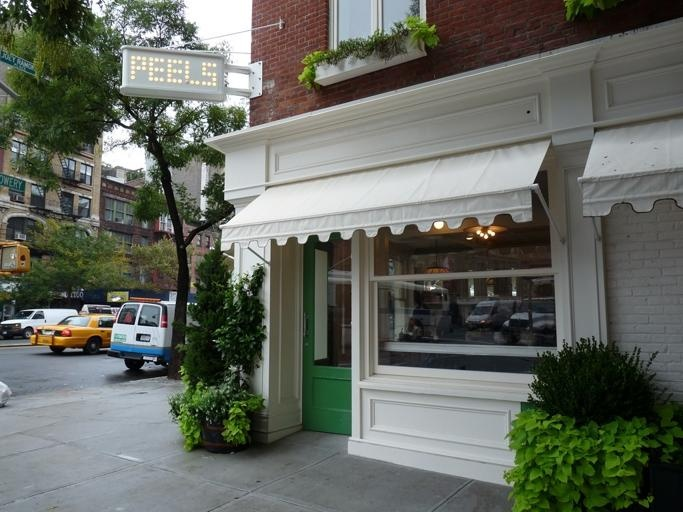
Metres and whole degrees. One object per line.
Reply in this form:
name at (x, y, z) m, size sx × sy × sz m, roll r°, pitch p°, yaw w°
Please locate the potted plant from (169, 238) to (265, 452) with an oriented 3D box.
potted plant at (-2.064, 1.497, 9.259) m, size 1.431 × 3.025 × 1.232 m, roll -11°, pitch -9°, yaw 33°
